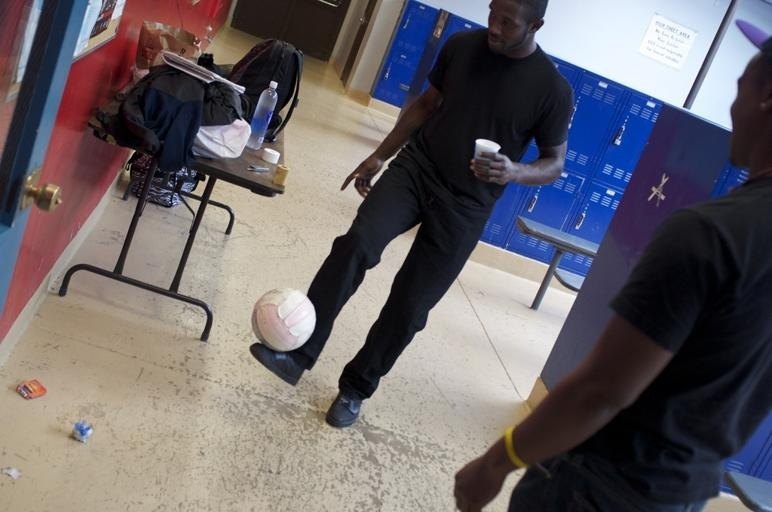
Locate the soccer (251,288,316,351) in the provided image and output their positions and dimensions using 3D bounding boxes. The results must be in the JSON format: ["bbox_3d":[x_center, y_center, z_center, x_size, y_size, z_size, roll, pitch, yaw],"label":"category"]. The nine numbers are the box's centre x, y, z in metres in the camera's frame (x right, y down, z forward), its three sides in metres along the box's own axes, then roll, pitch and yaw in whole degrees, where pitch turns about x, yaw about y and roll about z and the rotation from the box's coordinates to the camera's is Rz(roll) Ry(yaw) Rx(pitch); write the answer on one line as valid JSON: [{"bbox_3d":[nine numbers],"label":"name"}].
[{"bbox_3d":[-0.502,0.362,2.591,0.289,0.308,0.299,-14,-19,34],"label":"soccer"}]

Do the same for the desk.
[{"bbox_3d":[-1.230,0.242,4.169,1.395,1.211,2.555,-1,-16,3],"label":"desk"}]

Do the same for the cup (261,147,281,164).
[{"bbox_3d":[-0.712,-0.608,3.144,0.103,0.064,0.104,18,31,-11],"label":"cup"}]

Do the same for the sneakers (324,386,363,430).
[{"bbox_3d":[-0.230,0.863,2.869,0.122,0.115,0.284,36,20,0],"label":"sneakers"}]

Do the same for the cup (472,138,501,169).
[{"bbox_3d":[0.475,-0.503,2.506,0.120,0.095,0.118,20,19,-7],"label":"cup"}]

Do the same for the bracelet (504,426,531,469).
[{"bbox_3d":[0.325,0.496,1.331,0.033,0.097,0.085,-7,1,-4],"label":"bracelet"}]
